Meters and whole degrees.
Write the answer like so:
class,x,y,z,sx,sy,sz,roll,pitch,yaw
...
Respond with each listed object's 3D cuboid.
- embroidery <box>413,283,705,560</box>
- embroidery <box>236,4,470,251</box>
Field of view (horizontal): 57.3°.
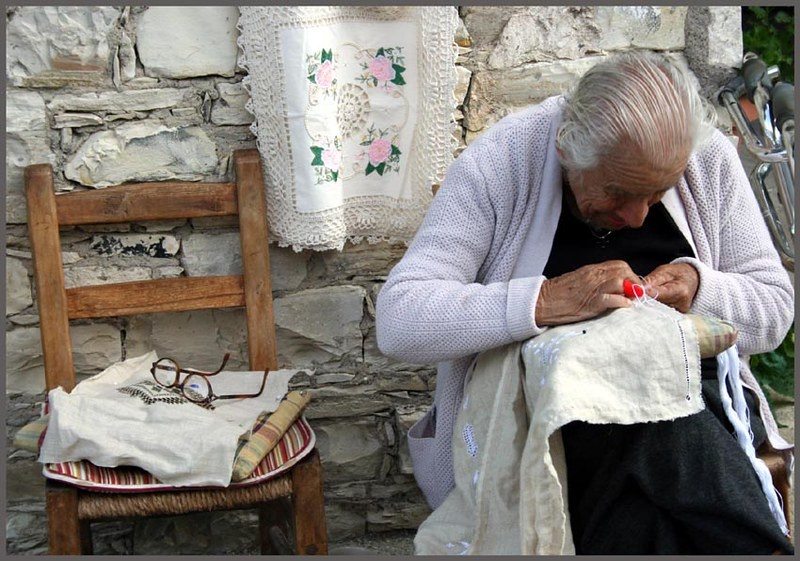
class,x,y,z,sx,sy,sz,roll,pitch,yaw
embroidery,0.418,0.460,2.117,0.850,0.739,0.425,-2,12,22
embroidery,-0.196,-0.582,2.673,0.929,1.104,0.119,-4,6,-22
